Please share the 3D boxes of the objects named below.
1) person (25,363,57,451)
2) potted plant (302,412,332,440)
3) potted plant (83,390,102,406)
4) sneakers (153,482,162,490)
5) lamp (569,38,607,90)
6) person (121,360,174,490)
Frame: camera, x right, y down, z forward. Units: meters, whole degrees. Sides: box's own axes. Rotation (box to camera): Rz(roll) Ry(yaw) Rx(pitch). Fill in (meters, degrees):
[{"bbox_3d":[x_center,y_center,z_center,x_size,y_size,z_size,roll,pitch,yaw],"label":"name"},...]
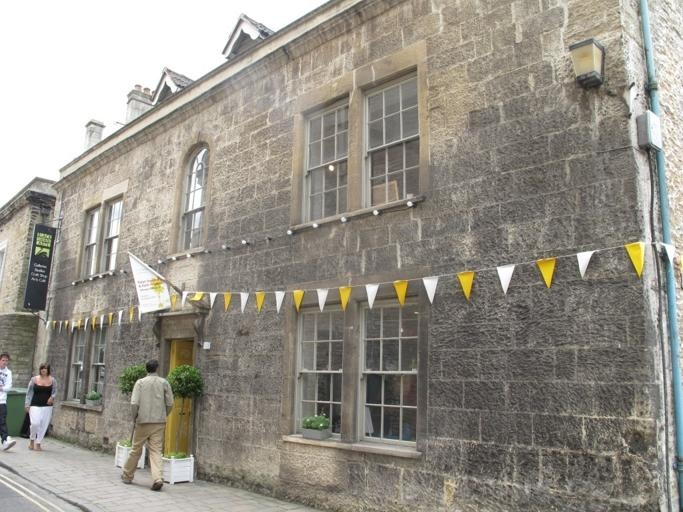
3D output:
[{"bbox_3d":[-6.917,3.465,12.028,0.563,1.920,0.799,9,-13,-29],"label":"person"},{"bbox_3d":[-0.410,2.682,8.211,0.266,0.373,0.489,12,-15,-38],"label":"potted plant"},{"bbox_3d":[-6.132,3.564,12.951,0.332,0.319,0.421,15,-22,-42],"label":"potted plant"},{"bbox_3d":[-2.988,3.747,8.500,0.159,0.146,0.208,7,-13,-19],"label":"sneakers"},{"bbox_3d":[2.878,-2.314,6.130,0.302,0.579,0.373,-8,-15,40],"label":"lamp"},{"bbox_3d":[-3.237,2.834,8.864,0.653,2.077,0.746,6,-12,-19],"label":"person"}]
